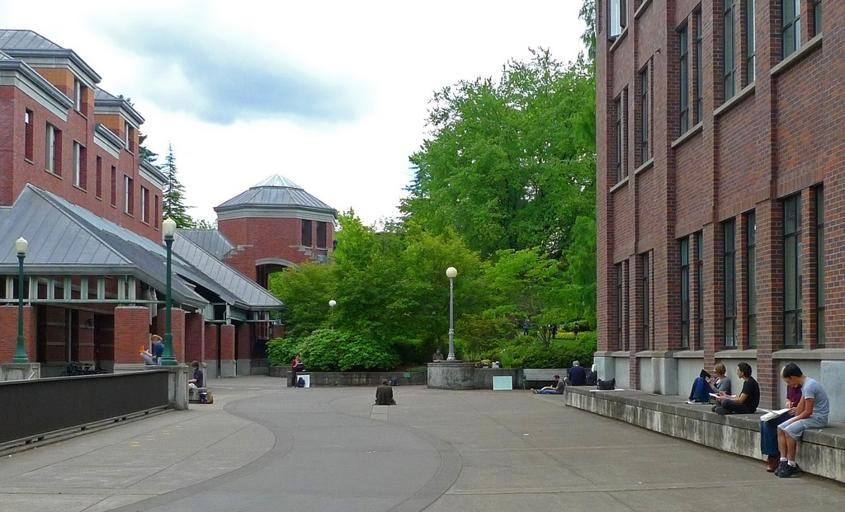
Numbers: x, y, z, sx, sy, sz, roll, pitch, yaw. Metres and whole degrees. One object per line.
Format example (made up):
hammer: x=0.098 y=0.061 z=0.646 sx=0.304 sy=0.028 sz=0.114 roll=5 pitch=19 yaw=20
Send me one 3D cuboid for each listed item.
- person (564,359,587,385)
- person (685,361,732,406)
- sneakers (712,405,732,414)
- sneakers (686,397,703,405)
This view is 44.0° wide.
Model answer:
person: x=6.178 y=4.777 z=41.937 sx=0.736 sy=0.976 sz=1.590 roll=1 pitch=1 yaw=9
person: x=8.508 y=3.834 z=31.252 sx=1.351 sy=1.242 sz=0.794 roll=11 pitch=0 yaw=-13
sneakers: x=8.094 y=4.212 z=28.575 sx=0.503 sy=0.135 sz=0.202 roll=4 pitch=-1 yaw=38
sneakers: x=8.133 y=4.345 z=31.413 sx=0.505 sy=0.175 sz=0.156 roll=4 pitch=-4 yaw=3
